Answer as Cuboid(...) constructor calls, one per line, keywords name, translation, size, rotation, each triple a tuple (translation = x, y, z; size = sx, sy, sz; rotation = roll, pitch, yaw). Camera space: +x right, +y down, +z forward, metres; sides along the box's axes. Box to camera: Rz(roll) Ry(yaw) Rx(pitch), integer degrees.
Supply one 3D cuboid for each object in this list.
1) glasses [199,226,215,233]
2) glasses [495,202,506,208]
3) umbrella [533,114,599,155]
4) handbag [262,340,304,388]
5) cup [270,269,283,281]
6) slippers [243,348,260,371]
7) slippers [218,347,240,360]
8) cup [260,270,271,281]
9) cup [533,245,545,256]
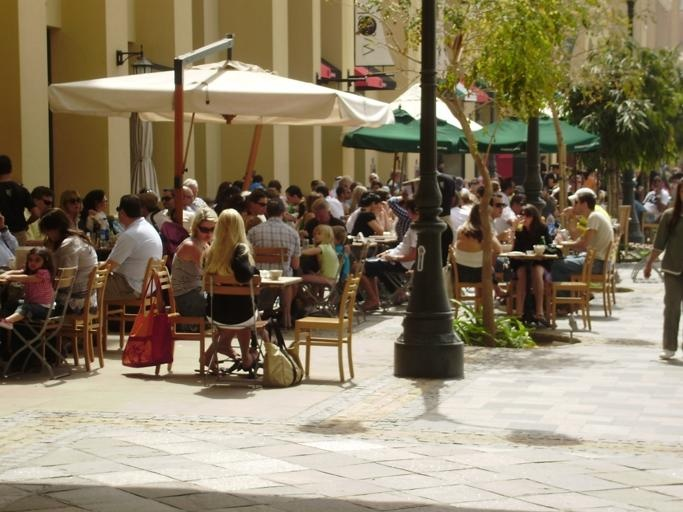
Cuboid(name="glasses", translation=(-1.646, -0.322, 11.418), size=(0.139, 0.089, 0.264), rotation=(4, 6, 29))
Cuboid(name="glasses", translation=(2.936, -0.934, 17.089), size=(0.223, 0.072, 0.225), rotation=(1, 2, 33))
Cuboid(name="umbrella", translation=(4.939, -2.564, 20.023), size=(1.066, 0.471, 1.061), rotation=(2, 2, 0))
Cuboid(name="handbag", translation=(-0.639, 1.273, 10.515), size=(0.426, 0.549, 0.771), rotation=(-6, -9, 26))
Cuboid(name="cup", translation=(-0.815, 0.238, 11.522), size=(0.117, 0.082, 0.123), rotation=(0, 7, 0))
Cuboid(name="slippers", translation=(-1.030, 1.189, 10.665), size=(0.111, 0.214, 0.300), rotation=(3, 14, 9))
Cuboid(name="slippers", translation=(-1.316, 1.141, 10.781), size=(0.266, 0.101, 0.094), rotation=(20, 21, -8))
Cuboid(name="cup", translation=(-0.971, 0.251, 11.690), size=(0.125, 0.081, 0.115), rotation=(1, 4, 0))
Cuboid(name="cup", translation=(3.024, -0.075, 14.075), size=(0.146, 0.116, 0.149), rotation=(1, -1, 0))
